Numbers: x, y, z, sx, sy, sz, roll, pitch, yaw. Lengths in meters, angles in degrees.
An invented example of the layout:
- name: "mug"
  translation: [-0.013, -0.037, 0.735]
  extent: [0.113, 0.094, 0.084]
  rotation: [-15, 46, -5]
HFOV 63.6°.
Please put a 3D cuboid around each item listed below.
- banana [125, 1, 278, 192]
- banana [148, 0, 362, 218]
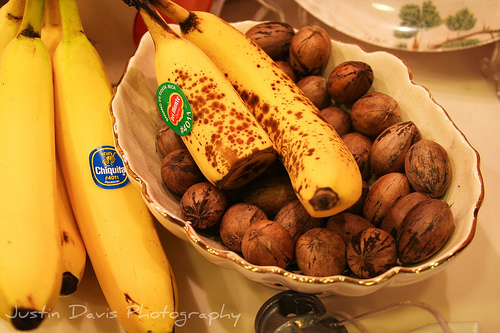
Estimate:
- name: "banana"
  translation: [-0.119, -0.148, 0.953]
  extent: [0.146, 0.442, 0.203]
  rotation: [-33, -9, -5]
- name: "banana"
  translation: [0.001, -0.117, 0.946]
  extent: [0.134, 0.570, 0.199]
  rotation: [-36, -13, -21]
